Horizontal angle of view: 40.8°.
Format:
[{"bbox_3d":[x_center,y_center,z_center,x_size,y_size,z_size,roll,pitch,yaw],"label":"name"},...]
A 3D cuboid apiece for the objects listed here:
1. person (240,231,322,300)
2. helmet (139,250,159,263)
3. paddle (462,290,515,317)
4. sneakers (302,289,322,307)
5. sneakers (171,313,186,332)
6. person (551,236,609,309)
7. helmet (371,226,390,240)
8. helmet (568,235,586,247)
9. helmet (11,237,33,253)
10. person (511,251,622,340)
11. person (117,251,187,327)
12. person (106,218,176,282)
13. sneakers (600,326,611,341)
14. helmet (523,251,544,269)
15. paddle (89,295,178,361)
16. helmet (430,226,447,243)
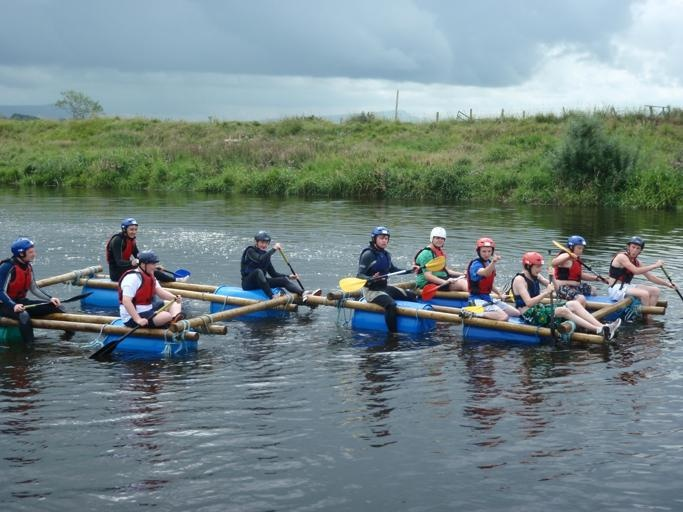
[{"bbox_3d":[-1.191,0.233,17.448,1.636,1.137,0.885,4,3,16],"label":"person"},{"bbox_3d":[-3.197,0.036,15.129,0.296,0.191,0.200,-18,4,11],"label":"helmet"},{"bbox_3d":[2.621,0.850,15.821,0.736,0.263,0.443,0,4,7],"label":"paddle"},{"bbox_3d":[-0.548,0.805,17.359,0.254,0.158,0.503,11,11,18],"label":"sneakers"},{"bbox_3d":[-2.561,1.071,14.813,0.145,0.333,0.267,17,-4,-2],"label":"sneakers"},{"bbox_3d":[4.343,0.479,16.695,1.255,1.493,1.034,3,3,5],"label":"person"},{"bbox_3d":[0.784,-0.408,16.654,0.322,0.280,0.358,1,-1,-28],"label":"helmet"},{"bbox_3d":[4.211,-0.273,16.635,0.339,0.240,0.242,3,8,20],"label":"helmet"},{"bbox_3d":[-5.304,-0.152,15.357,0.279,0.230,0.233,2,5,24],"label":"helmet"},{"bbox_3d":[3.746,0.698,15.300,0.856,1.085,1.888,-23,28,-35],"label":"person"},{"bbox_3d":[-3.125,0.583,15.244,1.235,1.181,1.013,2,12,-29],"label":"person"},{"bbox_3d":[-3.844,-0.061,17.805,1.607,1.058,0.777,10,17,36],"label":"person"},{"bbox_3d":[4.299,1.270,14.997,0.118,0.232,0.115,-1,-10,-5],"label":"sneakers"},{"bbox_3d":[3.171,0.073,15.577,0.416,0.295,0.310,2,6,19],"label":"helmet"},{"bbox_3d":[-3.335,1.216,15.032,2.014,0.199,0.169,-29,53,-31],"label":"paddle"},{"bbox_3d":[1.870,-0.412,17.292,0.348,0.274,0.412,3,-10,-7],"label":"helmet"}]
